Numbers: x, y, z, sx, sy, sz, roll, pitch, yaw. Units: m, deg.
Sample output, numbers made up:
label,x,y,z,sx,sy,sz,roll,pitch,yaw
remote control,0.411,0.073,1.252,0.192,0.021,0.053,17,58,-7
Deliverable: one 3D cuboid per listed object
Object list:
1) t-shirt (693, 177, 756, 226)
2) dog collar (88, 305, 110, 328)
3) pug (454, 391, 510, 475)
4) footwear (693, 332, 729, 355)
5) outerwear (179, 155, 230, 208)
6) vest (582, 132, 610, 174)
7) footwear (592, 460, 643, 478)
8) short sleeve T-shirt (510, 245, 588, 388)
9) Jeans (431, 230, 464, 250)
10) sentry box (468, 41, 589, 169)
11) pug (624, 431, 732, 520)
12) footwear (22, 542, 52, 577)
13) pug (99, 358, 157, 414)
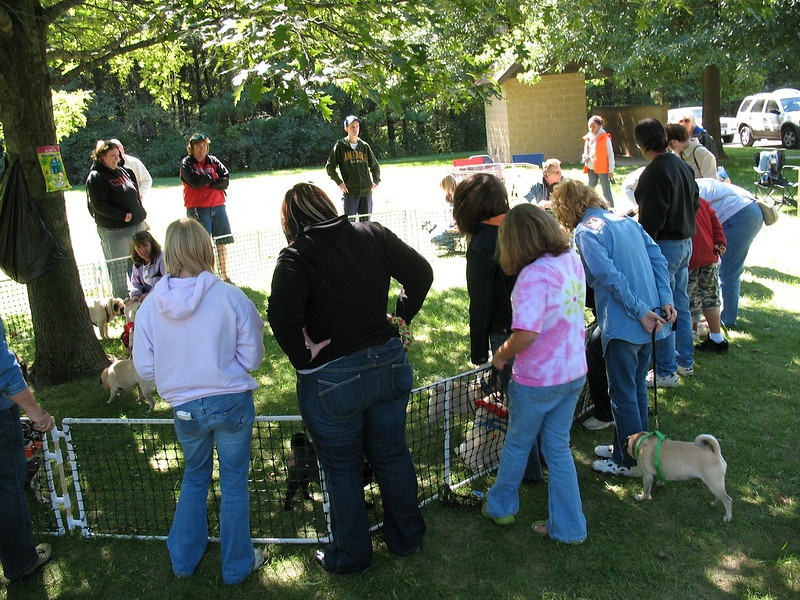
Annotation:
label,x,y,z,sx,sy,sz,roll,pitch,yaw
t-shirt,3.858,-1.251,7.663,0.750,0.303,0.586,22,61,41
dog collar,-4.024,0.209,8.579,0.249,0.258,0.108,28,27,17
pug,0.806,1.257,5.860,0.386,0.658,0.481,12,0,11
footwear,3.606,0.520,7.411,0.437,0.225,0.169,2,5,19
outerwear,-3.158,-1.914,10.420,0.724,0.857,0.488,-9,12,-24
vest,4.749,-3.533,15.460,0.322,0.993,0.921,-5,11,-6
footwear,1.841,1.441,5.470,0.385,0.186,0.143,8,0,12
short sleeve T-shirt,1.062,0.130,4.642,0.765,0.864,0.446,-16,21,-43
Jeans,0.919,-1.140,12.291,0.688,0.470,0.724,0,1,-1
sentry box,5.038,-7.185,25.382,3.862,3.673,3.912,1,12,26
pug,2.178,1.318,5.088,0.298,0.631,0.886,-12,11,-43
footwear,-2.776,1.979,4.937,0.078,0.097,0.247,23,41,5
pug,-3.018,0.937,7.165,0.920,0.537,0.231,0,6,13
